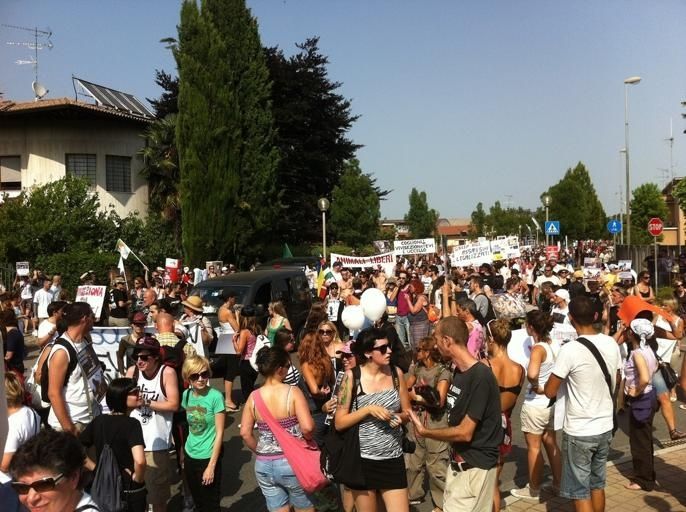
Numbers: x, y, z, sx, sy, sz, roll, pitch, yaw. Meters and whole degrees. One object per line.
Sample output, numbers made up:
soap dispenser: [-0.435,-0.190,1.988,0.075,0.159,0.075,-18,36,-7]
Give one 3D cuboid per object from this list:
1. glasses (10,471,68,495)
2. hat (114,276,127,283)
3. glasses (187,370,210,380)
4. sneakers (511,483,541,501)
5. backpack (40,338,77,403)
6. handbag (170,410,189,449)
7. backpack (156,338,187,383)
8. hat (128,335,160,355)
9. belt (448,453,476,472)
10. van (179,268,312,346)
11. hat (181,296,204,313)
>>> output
glasses: [-2.133,1.582,4.387,0.337,0.130,0.044,-2,0,-6]
hat: [-5.653,0.617,15.994,0.191,0.118,0.272,-1,2,5]
glasses: [-1.588,1.307,6.916,0.232,0.102,0.142,-2,0,-21]
sneakers: [2.167,2.753,7.492,0.319,0.179,0.150,3,-5,24]
backpack: [-3.207,1.278,7.000,0.558,0.735,0.261,-2,0,39]
handbag: [-1.941,2.012,7.383,0.153,0.486,0.551,-2,0,-26]
backpack: [-2.121,1.368,7.850,0.296,0.656,0.426,-6,5,-17]
hat: [-2.196,0.999,7.109,0.241,0.187,0.319,-2,0,10]
belt: [1.079,1.930,5.906,0.151,0.088,0.155,-10,-14,43]
van: [-2.013,1.173,14.877,1.328,1.386,2.373,-4,-4,22]
hat: [-2.438,0.800,10.183,0.279,0.120,0.265,31,8,1]
